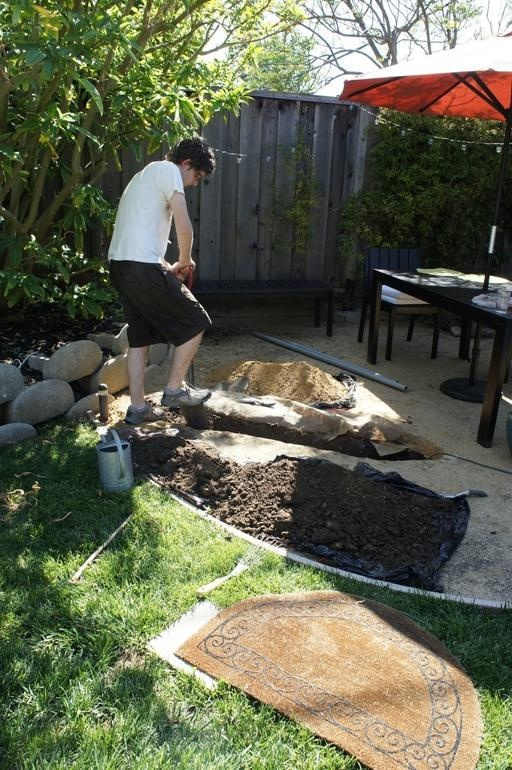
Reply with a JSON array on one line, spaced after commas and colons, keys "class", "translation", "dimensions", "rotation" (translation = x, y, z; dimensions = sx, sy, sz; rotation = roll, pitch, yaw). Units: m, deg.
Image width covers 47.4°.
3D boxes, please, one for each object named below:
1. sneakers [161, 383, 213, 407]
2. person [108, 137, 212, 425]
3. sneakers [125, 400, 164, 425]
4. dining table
[{"class": "sneakers", "translation": [-0.411, 0.069, 3.466], "dimensions": [0.314, 0.157, 0.123], "rotation": [-7, 21, -24]}, {"class": "person", "translation": [-0.514, -0.542, 3.226], "dimensions": [0.587, 1.617, 0.385], "rotation": [1, 14, -14]}, {"class": "sneakers", "translation": [-0.650, 0.153, 3.454], "dimensions": [0.095, 0.125, 0.270], "rotation": [20, 19, 35]}, {"class": "dining table", "translation": [1.451, -0.845, 5.882], "dimensions": [0.653, 1.060, 0.776], "rotation": [1, 16, -3]}]
